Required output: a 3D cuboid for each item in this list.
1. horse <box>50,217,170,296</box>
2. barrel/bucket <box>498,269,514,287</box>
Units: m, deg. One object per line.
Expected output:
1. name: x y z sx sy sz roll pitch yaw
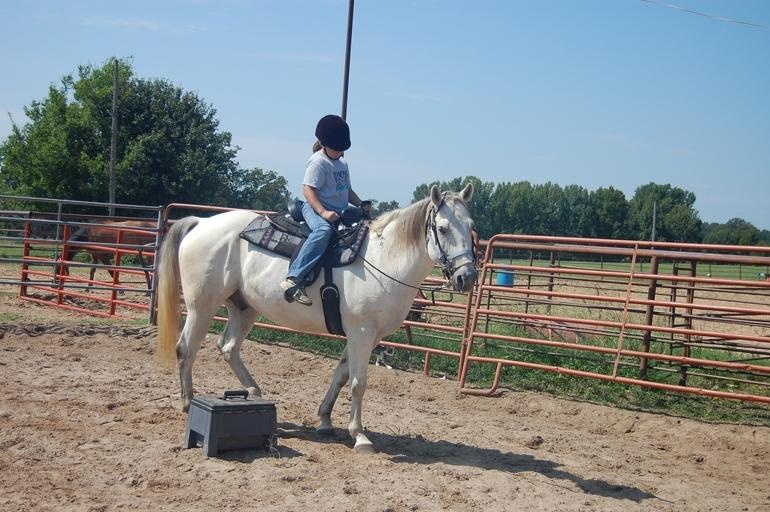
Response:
1. horse: -6.909 -0.174 18.361 0.575 1.559 2.617 4 -5 16
2. barrel/bucket: 2.893 0.551 18.436 0.474 0.559 0.490 1 -6 0
